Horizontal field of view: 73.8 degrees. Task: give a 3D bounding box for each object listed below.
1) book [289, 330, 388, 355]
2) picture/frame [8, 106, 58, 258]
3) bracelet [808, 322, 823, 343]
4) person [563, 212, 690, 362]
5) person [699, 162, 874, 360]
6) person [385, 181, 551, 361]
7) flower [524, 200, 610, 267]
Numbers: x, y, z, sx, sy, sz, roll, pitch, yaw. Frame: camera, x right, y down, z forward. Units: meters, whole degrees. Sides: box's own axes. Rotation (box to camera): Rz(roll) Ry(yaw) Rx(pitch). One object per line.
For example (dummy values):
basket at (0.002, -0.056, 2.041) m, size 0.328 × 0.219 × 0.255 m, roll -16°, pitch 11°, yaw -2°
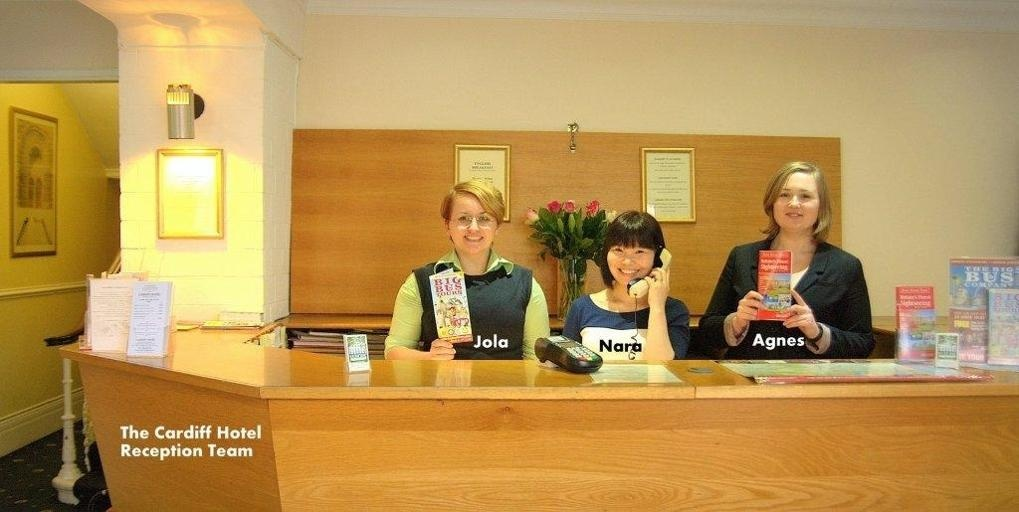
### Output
book at (-1.448, 0.708, 5.551) m, size 0.783 × 0.201 × 0.195 m, roll 1°, pitch 1°, yaw 9°
picture/frame at (-4.450, -0.671, 6.327) m, size 0.031 × 1.343 × 0.429 m, roll 3°, pitch 2°, yaw 23°
bracelet at (2.045, 0.521, 4.552) m, size 0.096 × 0.133 × 0.073 m, roll 3°, pitch 2°, yaw 22°
person at (0.745, 0.189, 4.667) m, size 0.752 × 0.987 × 0.225 m, roll 2°, pitch 2°, yaw 10°
person at (1.877, 0.044, 4.622) m, size 1.130 × 1.382 × 0.492 m, roll 2°, pitch 2°, yaw 17°
person at (-0.271, 0.094, 4.587) m, size 1.098 × 1.212 × 0.373 m, roll 2°, pitch 2°, yaw -8°
flower at (0.438, -0.189, 5.582) m, size 0.680 × 0.338 × 0.653 m, roll -3°, pitch 2°, yaw -41°
